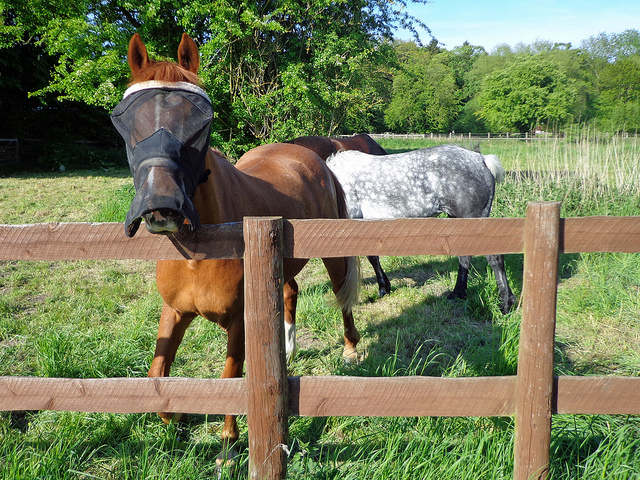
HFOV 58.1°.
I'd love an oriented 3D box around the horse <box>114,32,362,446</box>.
[{"bbox_3d":[-0.678,-0.132,6.554,1.114,4.087,4.956,3,12,18],"label":"horse"}]
